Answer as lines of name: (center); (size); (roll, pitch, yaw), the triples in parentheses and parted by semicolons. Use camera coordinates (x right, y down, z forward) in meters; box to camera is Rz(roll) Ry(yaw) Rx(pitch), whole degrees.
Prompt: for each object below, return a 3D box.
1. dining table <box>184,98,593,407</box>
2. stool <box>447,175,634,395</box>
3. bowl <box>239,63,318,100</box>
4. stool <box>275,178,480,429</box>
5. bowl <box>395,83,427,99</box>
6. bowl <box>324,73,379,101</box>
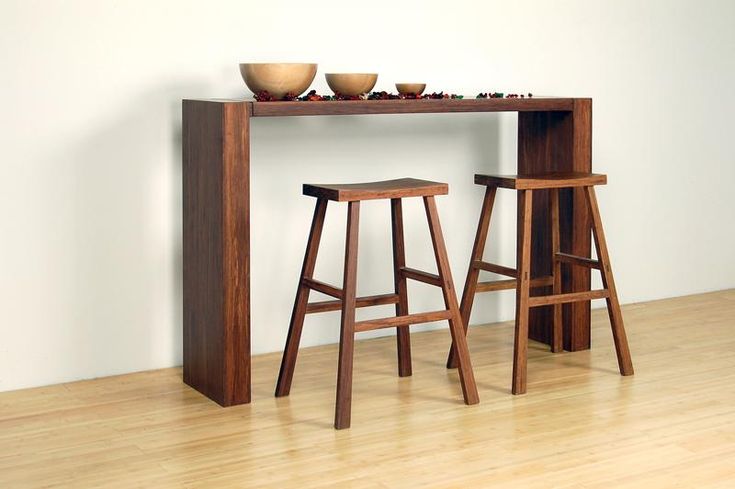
dining table: (0.125, -0.068, 3.238); (1.968, 1.313, 0.633); (-7, 15, -28)
stool: (0.790, 0.138, 3.033); (0.784, 0.883, 0.685); (-1, 5, -14)
bowl: (-0.385, -0.719, 2.859); (0.343, 0.136, 0.346); (-5, 12, 1)
stool: (0.035, 0.210, 2.754); (0.734, 0.869, 0.640); (-3, 6, -26)
bowl: (0.199, -0.707, 2.956); (0.134, 0.075, 0.254); (0, 13, 2)
bowl: (-0.067, -0.695, 2.819); (0.226, 0.117, 0.229); (-1, 13, 0)
